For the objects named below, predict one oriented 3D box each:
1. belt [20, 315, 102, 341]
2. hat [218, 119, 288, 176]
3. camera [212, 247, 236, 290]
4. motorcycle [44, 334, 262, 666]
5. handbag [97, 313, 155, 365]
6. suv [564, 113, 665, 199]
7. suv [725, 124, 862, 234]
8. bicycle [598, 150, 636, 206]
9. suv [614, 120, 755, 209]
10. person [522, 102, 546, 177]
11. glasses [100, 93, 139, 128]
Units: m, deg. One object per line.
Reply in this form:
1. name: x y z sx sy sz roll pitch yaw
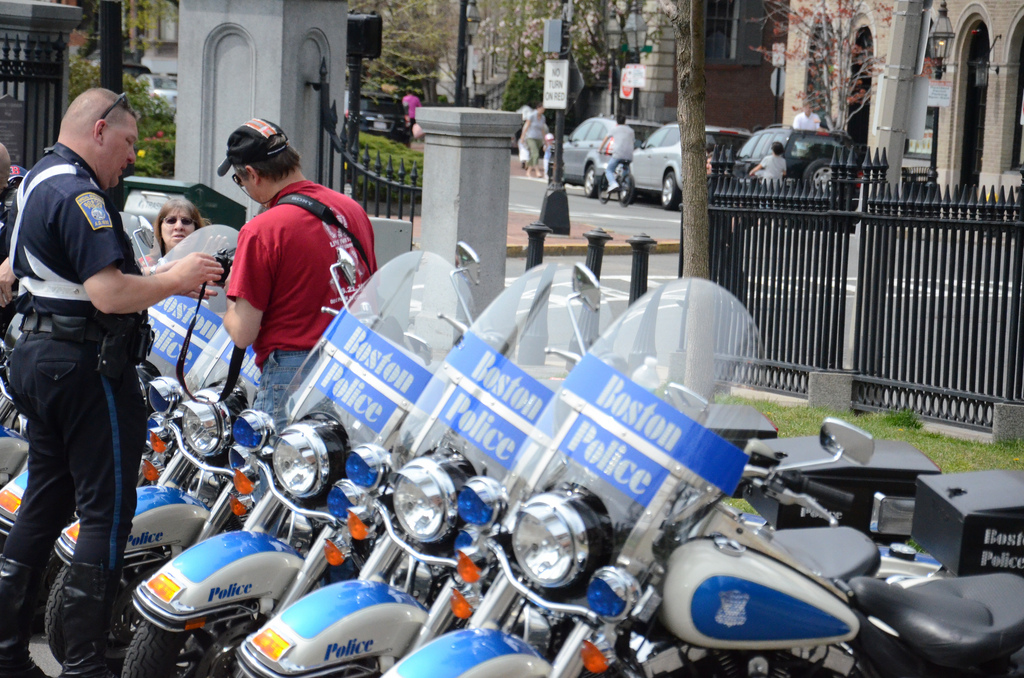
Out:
1. belt: -2.268 -0.070 6.696 0.454 0.124 0.097 9 9 18
2. hat: -1.424 -1.085 7.200 0.401 0.214 0.313 5 32 39
3. camera: -1.523 -0.379 7.110 0.140 0.197 0.182 9 1 6
4. motorcycle: -1.763 0.831 6.981 0.937 1.153 1.695 7 7 42
5. handbag: -1.926 -0.002 6.721 0.230 0.240 0.097 20 -12 -32
6. suv: 1.969 -4.164 29.655 1.277 1.219 2.662 -4 11 -15
7. suv: 5.312 -3.514 25.514 2.083 0.997 2.079 9 10 21
8. bicycle: 2.263 -3.290 27.687 0.475 0.667 1.090 17 29 -3
9. suv: 3.781 -3.247 26.576 1.933 1.781 3.886 -5 13 -16
10. person: 0.583 -4.971 33.286 0.556 1.747 0.622 -1 12 -24
11. glasses: -2.021 -1.145 6.901 0.163 0.049 0.162 -37 26 -8
